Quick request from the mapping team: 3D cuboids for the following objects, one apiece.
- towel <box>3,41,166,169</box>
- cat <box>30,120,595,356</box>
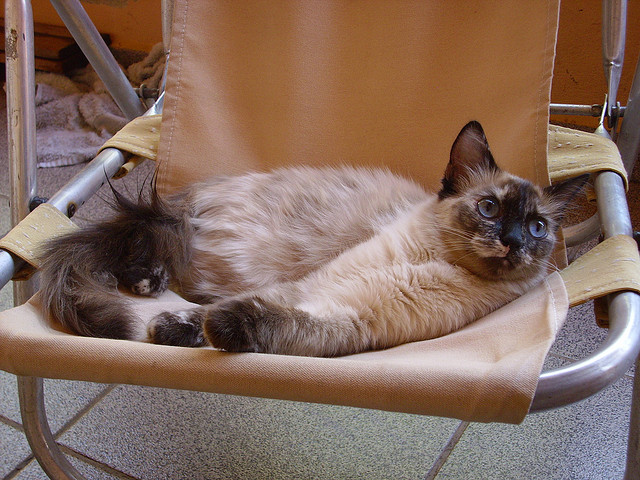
[{"bbox_3d":[-1.069,-0.503,2.773,0.772,0.139,0.816,3,55,7],"label":"towel"},{"bbox_3d":[0.010,0.033,1.251,0.808,0.328,0.603,1,36,-1],"label":"cat"}]
